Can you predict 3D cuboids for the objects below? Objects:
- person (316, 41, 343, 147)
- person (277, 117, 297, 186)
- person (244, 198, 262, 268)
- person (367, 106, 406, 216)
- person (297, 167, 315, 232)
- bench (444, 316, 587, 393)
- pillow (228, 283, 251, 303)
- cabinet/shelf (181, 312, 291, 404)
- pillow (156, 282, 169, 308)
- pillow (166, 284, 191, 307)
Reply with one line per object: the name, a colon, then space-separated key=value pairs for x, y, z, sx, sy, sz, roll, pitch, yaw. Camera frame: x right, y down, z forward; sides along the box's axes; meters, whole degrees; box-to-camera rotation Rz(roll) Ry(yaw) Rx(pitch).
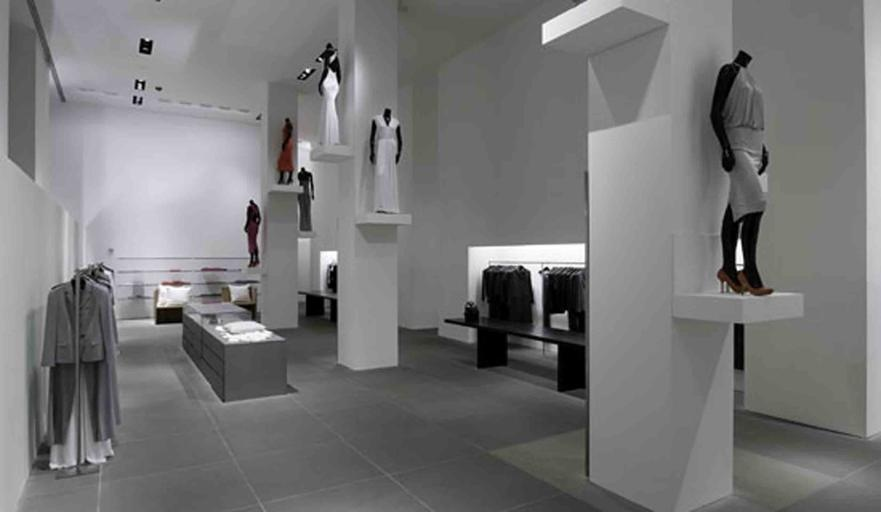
person: x=-1.891 y=-2.768 z=9.166 sx=0.409 sy=1.677 sz=0.558 roll=-2 pitch=12 yaw=-9
person: x=-3.554 y=-2.368 z=12.204 sx=0.380 sy=1.447 sz=0.497 roll=-5 pitch=13 yaw=-21
person: x=-4.635 y=-0.557 z=13.344 sx=0.382 sy=1.515 sz=1.411 roll=-4 pitch=13 yaw=-19
person: x=-0.911 y=-1.576 z=8.893 sx=0.525 sy=1.694 sz=0.659 roll=-3 pitch=13 yaw=-14
person: x=-3.430 y=-1.424 z=13.614 sx=0.395 sy=1.536 sz=1.343 roll=-3 pitch=13 yaw=-15
bench: x=1.416 y=1.513 z=8.481 sx=0.684 sy=0.986 sz=2.098 roll=-11 pitch=17 yaw=-41
pillow: x=-5.424 y=1.027 z=14.429 sx=0.414 sy=0.400 sz=0.157 roll=0 pitch=-33 yaw=-10
cabinet/shelf: x=-3.295 y=1.542 z=8.273 sx=0.896 sy=0.973 sz=2.515 roll=-12 pitch=17 yaw=-43
pillow: x=-7.114 y=1.014 z=13.635 sx=0.344 sy=0.586 sz=0.136 roll=5 pitch=-13 yaw=-27
pillow: x=-6.668 y=1.016 z=13.607 sx=0.429 sy=0.443 sz=0.160 roll=5 pitch=-32 yaw=-26
